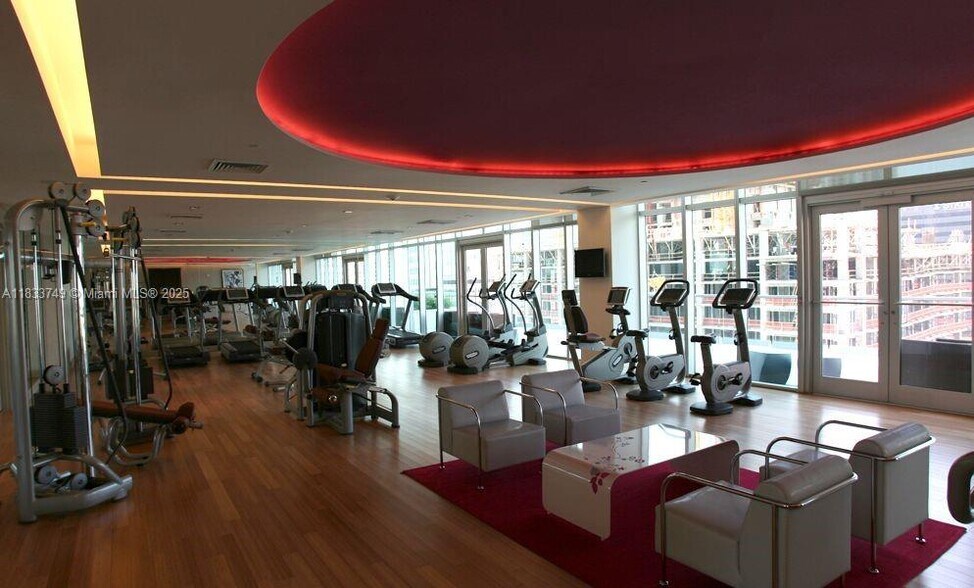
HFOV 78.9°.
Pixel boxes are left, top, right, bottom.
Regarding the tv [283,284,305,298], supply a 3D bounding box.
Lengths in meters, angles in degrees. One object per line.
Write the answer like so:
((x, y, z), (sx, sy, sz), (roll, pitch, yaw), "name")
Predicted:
((-4.248, -0.066, 13.114), (0.500, 0.098, 0.625), (3, 26, -14), "tv")

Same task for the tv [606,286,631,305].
((2.104, 0.044, 9.606), (0.283, 0.374, 0.386), (10, -11, -44), "tv")

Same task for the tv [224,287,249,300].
((-5.970, -0.002, 14.223), (0.494, 0.253, 0.375), (-4, 15, -14), "tv")

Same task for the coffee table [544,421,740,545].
((1.709, 1.845, 6.216), (2.027, 0.926, 1.585), (-2, -2, 24), "coffee table")

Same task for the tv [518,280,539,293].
((0.812, -0.149, 11.254), (0.289, 0.076, 0.299), (-14, 5, 15), "tv")

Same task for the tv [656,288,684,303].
((2.757, 0.045, 8.908), (0.411, 0.213, 0.236), (4, 15, 19), "tv")

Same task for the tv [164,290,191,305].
((-7.257, 0.079, 14.065), (0.367, 0.327, 0.518), (-4, -3, 39), "tv")

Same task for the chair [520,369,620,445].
((0.978, 1.340, 7.362), (1.032, 0.854, 1.017), (-3, 3, -41), "chair")

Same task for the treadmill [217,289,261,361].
((-6.351, 0.786, 15.249), (1.167, 1.664, 1.186), (0, 6, -25), "treadmill")

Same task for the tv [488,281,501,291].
((0.152, -0.148, 11.707), (0.291, 0.225, 0.207), (10, 18, 37), "tv")

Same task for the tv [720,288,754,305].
((3.533, 0.040, 8.410), (0.485, 0.250, 0.249), (7, 16, 28), "tv")

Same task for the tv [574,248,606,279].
((1.919, -0.572, 11.059), (0.193, 0.615, 0.718), (-15, 20, -41), "tv")

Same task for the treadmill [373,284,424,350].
((-2.120, 0.638, 15.020), (1.261, 1.834, 1.328), (-1, 6, -31), "treadmill")

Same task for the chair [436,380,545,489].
((0.085, 1.536, 6.825), (1.025, 0.865, 1.061), (6, 7, 41), "chair")
